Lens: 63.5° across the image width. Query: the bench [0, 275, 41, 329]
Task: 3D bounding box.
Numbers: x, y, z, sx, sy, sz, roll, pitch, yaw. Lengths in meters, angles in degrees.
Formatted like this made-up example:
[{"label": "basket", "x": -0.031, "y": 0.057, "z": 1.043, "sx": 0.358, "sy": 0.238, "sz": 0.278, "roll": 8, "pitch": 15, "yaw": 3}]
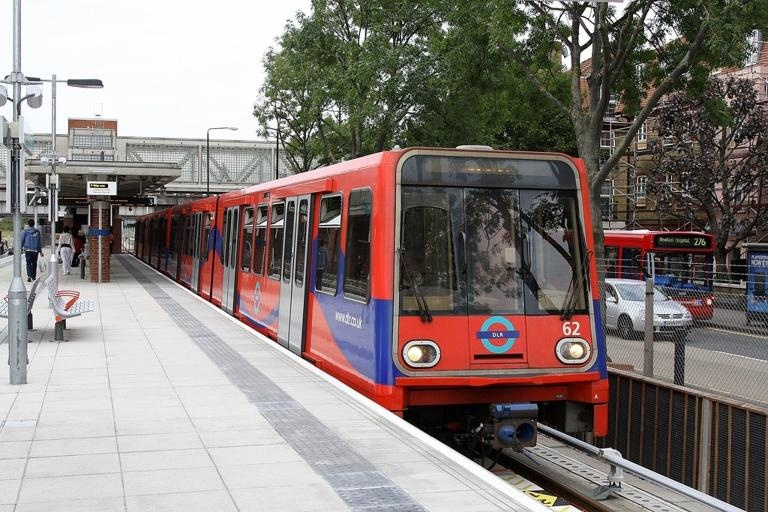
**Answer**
[{"label": "bench", "x": -7.533, "y": 0.994, "z": 12.941, "sx": 0.566, "sy": 0.586, "sz": 1.283, "roll": 4, "pitch": 0, "yaw": -31}]
